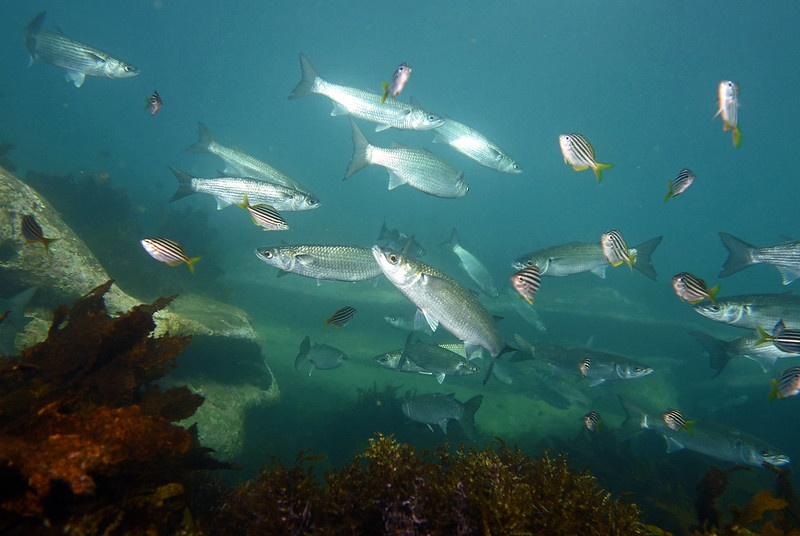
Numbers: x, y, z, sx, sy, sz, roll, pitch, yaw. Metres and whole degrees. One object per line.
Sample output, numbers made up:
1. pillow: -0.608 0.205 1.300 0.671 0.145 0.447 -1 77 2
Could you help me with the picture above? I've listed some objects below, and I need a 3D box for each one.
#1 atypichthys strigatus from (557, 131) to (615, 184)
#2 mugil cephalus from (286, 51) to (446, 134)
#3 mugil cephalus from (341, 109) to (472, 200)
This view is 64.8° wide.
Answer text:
1. atypichthys strigatus: 4.160 -2.572 14.486 1.380 0.741 0.279 45 33 20
2. mugil cephalus: -0.754 -4.203 16.005 4.055 0.890 1.202 13 -58 -11
3. mugil cephalus: 0.160 -2.356 15.572 2.975 1.292 0.698 18 -18 1
